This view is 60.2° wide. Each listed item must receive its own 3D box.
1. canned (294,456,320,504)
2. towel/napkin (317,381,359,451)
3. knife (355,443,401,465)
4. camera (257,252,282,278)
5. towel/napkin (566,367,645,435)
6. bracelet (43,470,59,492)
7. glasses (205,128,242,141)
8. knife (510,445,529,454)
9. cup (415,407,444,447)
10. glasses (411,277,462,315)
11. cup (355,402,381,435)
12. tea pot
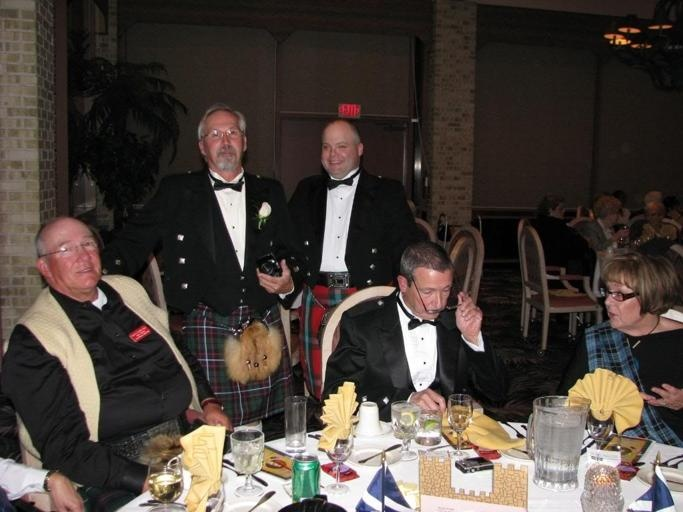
[{"bbox_3d":[-0.106,0.682,1.763,0.086,0.140,0.199,-1,9,-4],"label":"canned"},{"bbox_3d":[-0.009,0.544,1.999,0.186,0.212,0.089,3,-14,-14],"label":"towel/napkin"},{"bbox_3d":[0.128,0.687,2.035,0.029,0.033,0.281,-35,-2,-35],"label":"knife"},{"bbox_3d":[-0.353,0.045,2.935,0.124,0.116,0.093,-16,12,-11],"label":"camera"},{"bbox_3d":[0.973,0.505,2.110,0.241,0.242,0.091,3,-1,17],"label":"towel/napkin"},{"bbox_3d":[-1.029,0.785,2.064,0.038,0.060,0.059,4,8,16],"label":"bracelet"},{"bbox_3d":[-0.594,-0.614,2.949,0.161,0.056,0.049,-3,10,-16],"label":"glasses"},{"bbox_3d":[0.640,0.691,2.107,0.058,0.017,0.019,3,-36,-40],"label":"knife"},{"bbox_3d":[0.313,0.629,2.198,0.112,0.126,0.130,1,1,3],"label":"cup"},{"bbox_3d":[0.385,0.161,2.465,0.148,0.093,0.201,2,16,-17],"label":"glasses"},{"bbox_3d":[0.106,0.617,2.255,0.097,0.076,0.102,0,1,0],"label":"cup"},{"bbox_3d":[0.732,0.601,2.002,0.192,0.264,0.290,4,10,24],"label":"tea pot"}]
